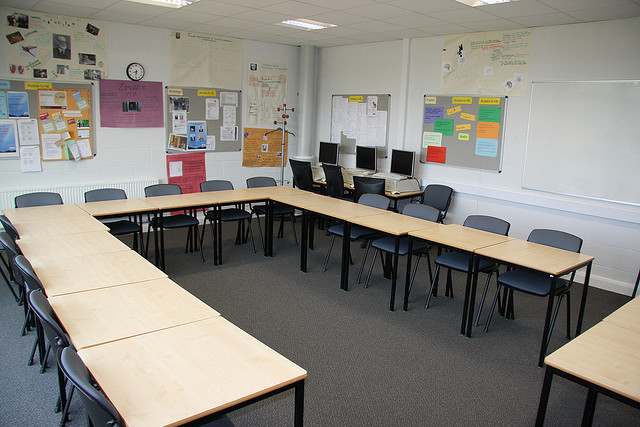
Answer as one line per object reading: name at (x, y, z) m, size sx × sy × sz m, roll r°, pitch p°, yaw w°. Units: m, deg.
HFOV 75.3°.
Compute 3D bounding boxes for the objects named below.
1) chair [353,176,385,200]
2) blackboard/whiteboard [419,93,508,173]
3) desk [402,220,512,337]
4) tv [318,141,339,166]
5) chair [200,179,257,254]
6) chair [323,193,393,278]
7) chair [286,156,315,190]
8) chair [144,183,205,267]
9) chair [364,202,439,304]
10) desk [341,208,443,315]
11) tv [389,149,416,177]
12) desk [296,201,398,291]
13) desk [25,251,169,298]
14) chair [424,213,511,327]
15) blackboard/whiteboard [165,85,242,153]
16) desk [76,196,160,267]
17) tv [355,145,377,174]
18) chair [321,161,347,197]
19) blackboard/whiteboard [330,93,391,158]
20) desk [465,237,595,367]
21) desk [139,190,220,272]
chair at (0.821, -0.490, 6.932) m, size 0.388 × 0.493 × 0.422 m, roll 11°, pitch 17°, yaw 28°
blackboard/whiteboard at (2.402, -1.341, 6.799) m, size 1.356 × 1.048 × 0.059 m, roll 12°, pitch 13°, yaw 40°
desk at (1.745, 0.666, 5.045) m, size 1.009 × 1.173 × 1.007 m, roll -7°, pitch 14°, yaw -29°
tv at (0.173, -1.204, 8.327) m, size 0.239 × 0.544 × 0.672 m, roll 0°, pitch 5°, yaw -43°
chair at (-1.465, 0.078, 6.458) m, size 0.866 × 1.097 × 0.756 m, roll 11°, pitch 16°, yaw 40°
chair at (0.516, 0.332, 6.010) m, size 0.823 × 1.114 × 0.715 m, roll -17°, pitch 23°, yaw -42°
chair at (-0.352, -0.781, 7.977) m, size 0.491 × 0.814 × 0.589 m, roll 12°, pitch 20°, yaw 37°
chair at (-2.169, 0.149, 6.100) m, size 0.773 × 1.093 × 0.862 m, roll -3°, pitch 13°, yaw -24°
chair at (1.067, 0.503, 5.468) m, size 0.991 × 1.149 × 0.893 m, roll -4°, pitch 16°, yaw -24°
desk at (1.012, 0.448, 5.597) m, size 1.303 × 1.755 × 1.116 m, roll -4°, pitch 9°, yaw -39°
tv at (1.451, -0.907, 7.342) m, size 0.056 × 0.448 × 0.533 m, roll -6°, pitch 15°, yaw -36°
desk at (0.245, 0.082, 5.841) m, size 1.123 × 1.136 × 1.580 m, roll -6°, pitch 14°, yaw -40°
desk at (-2.166, 0.581, 3.970) m, size 1.269 × 0.281 × 0.911 m, roll 17°, pitch 14°, yaw 40°
chair at (1.782, 0.637, 5.093) m, size 0.818 × 1.148 × 0.649 m, roll -10°, pitch 20°, yaw -39°
blackboard/whiteboard at (-2.274, -1.747, 7.876) m, size 0.145 × 1.200 × 1.688 m, roll 16°, pitch 19°, yaw 33°
desk at (-2.461, 0.188, 5.009) m, size 0.811 × 0.722 × 0.676 m, roll -10°, pitch 21°, yaw -33°
tv at (0.848, -1.034, 7.825) m, size 0.216 × 0.450 × 0.521 m, roll -8°, pitch 16°, yaw -26°
chair at (0.263, -0.624, 7.521) m, size 0.475 × 0.733 × 0.555 m, roll 11°, pitch 20°, yaw 36°
blackboard/whiteboard at (0.747, -1.763, 8.217) m, size 1.642 × 1.173 × 0.062 m, roll -6°, pitch 12°, yaw -39°
desk at (2.249, 0.920, 4.735) m, size 1.298 × 1.195 × 1.233 m, roll -11°, pitch 16°, yaw -40°
desk at (-2.164, 0.162, 6.069) m, size 0.701 × 1.110 × 0.837 m, roll -5°, pitch 11°, yaw -31°
